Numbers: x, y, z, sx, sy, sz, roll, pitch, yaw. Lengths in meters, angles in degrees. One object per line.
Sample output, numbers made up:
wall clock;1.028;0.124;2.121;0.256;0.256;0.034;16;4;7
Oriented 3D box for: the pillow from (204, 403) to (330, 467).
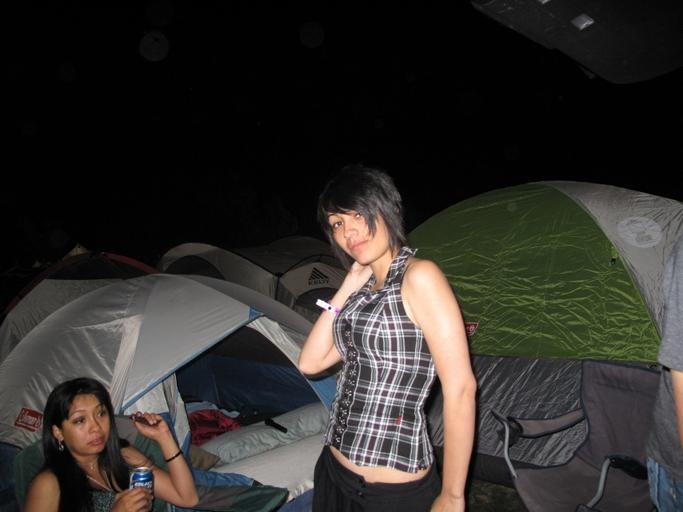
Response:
pillow;-0.706;1.463;4.469;1.053;0.167;0.592;-9;4;-33
